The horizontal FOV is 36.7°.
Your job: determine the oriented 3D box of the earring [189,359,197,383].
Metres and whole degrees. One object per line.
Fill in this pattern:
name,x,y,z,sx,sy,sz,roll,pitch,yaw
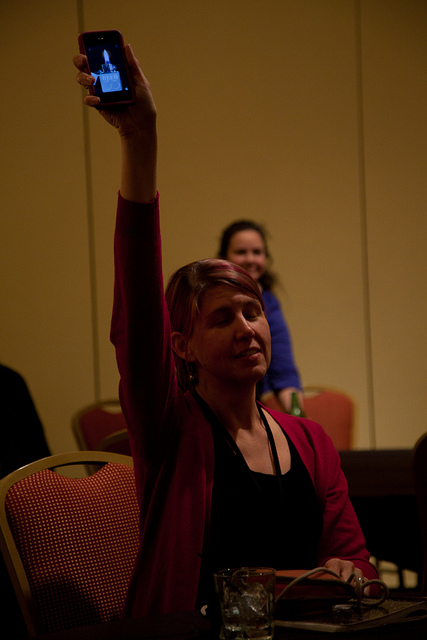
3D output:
earring,-0.028,0.085,1.004,0.013,0.015,0.014,4,10,32

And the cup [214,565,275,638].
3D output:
cup,0.029,0.256,0.582,0.058,0.066,0.061,-1,-8,0

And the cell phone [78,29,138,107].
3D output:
cell phone,-0.141,-0.331,0.856,0.056,0.107,0.011,-11,-8,-13

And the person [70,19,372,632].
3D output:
person,0.012,-0.002,0.941,0.423,0.795,0.257,0,-4,-14
